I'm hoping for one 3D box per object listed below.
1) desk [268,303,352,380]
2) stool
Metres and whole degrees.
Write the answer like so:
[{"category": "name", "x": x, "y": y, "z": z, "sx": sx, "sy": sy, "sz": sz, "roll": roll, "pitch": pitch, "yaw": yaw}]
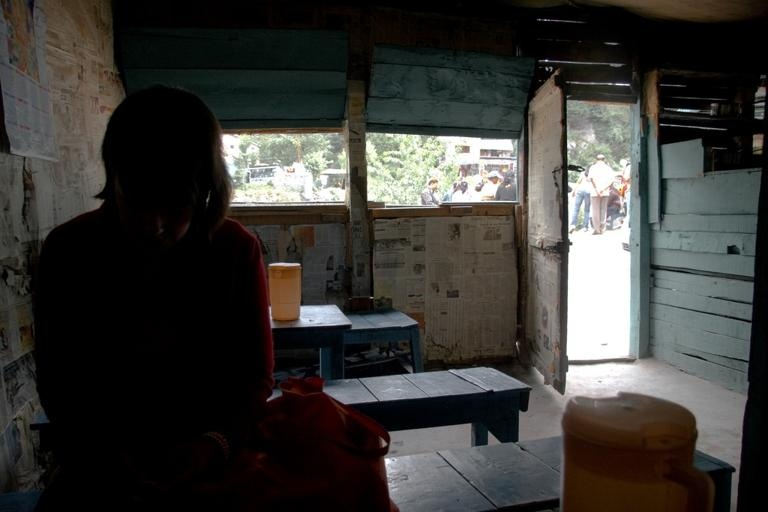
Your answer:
[{"category": "desk", "x": -0.472, "y": 0.516, "z": 3.719, "sx": 0.494, "sy": 0.418, "sz": 0.463, "roll": 0, "pitch": 3, "yaw": -7}, {"category": "stool", "x": -0.004, "y": 0.623, "z": 4.468, "sx": 0.521, "sy": 0.339, "sz": 0.483, "roll": -1, "pitch": 5, "yaw": -8}]
